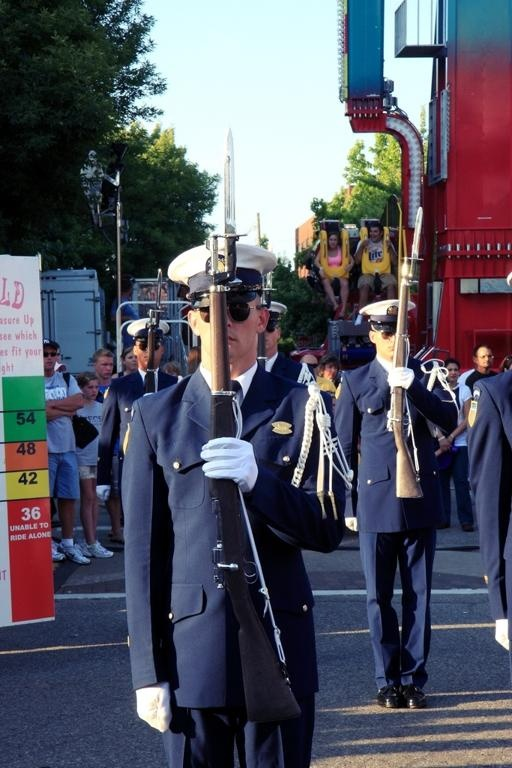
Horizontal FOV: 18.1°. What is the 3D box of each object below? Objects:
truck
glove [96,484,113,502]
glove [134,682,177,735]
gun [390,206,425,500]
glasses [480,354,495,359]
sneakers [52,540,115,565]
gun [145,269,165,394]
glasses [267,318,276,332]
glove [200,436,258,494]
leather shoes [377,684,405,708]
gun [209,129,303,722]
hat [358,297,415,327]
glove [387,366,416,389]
[{"bbox_3d":[-2.279,-0.814,19.959,0.826,1.538,1.441,-2,-1,-9],"label":"truck"},{"bbox_3d":[-1.102,0.821,11.503,0.103,0.164,0.051,0,5,7],"label":"glove"},{"bbox_3d":[-0.357,1.180,5.840,0.057,0.162,0.156,-3,-10,-43],"label":"glove"},{"bbox_3d":[0.788,-0.148,8.468,0.172,1.523,0.484,0,5,5],"label":"gun"},{"bbox_3d":[2.045,-0.227,14.280,0.092,0.033,0.102,0,-23,6],"label":"glasses"},{"bbox_3d":[-1.310,1.278,12.054,0.510,0.233,0.175,2,11,-10],"label":"sneakers"},{"bbox_3d":[-0.802,-0.388,12.786,0.060,1.449,0.345,2,5,-5],"label":"gun"},{"bbox_3d":[0.095,-0.348,9.982,0.060,0.094,0.085,-1,-1,8],"label":"glasses"},{"bbox_3d":[-0.133,0.268,5.755,0.241,0.140,0.332,2,17,-9],"label":"glove"},{"bbox_3d":[0.694,1.618,8.259,0.139,0.095,0.122,-1,5,-6],"label":"leather shoes"},{"bbox_3d":[-0.010,0.180,5.686,0.306,2.107,0.420,-1,5,-2],"label":"gun"},{"bbox_3d":[0.691,-0.386,8.871,0.198,0.091,0.216,1,-5,-31],"label":"hat"},{"bbox_3d":[0.757,-0.021,8.420,0.090,0.136,0.038,-1,-16,7],"label":"glove"}]
